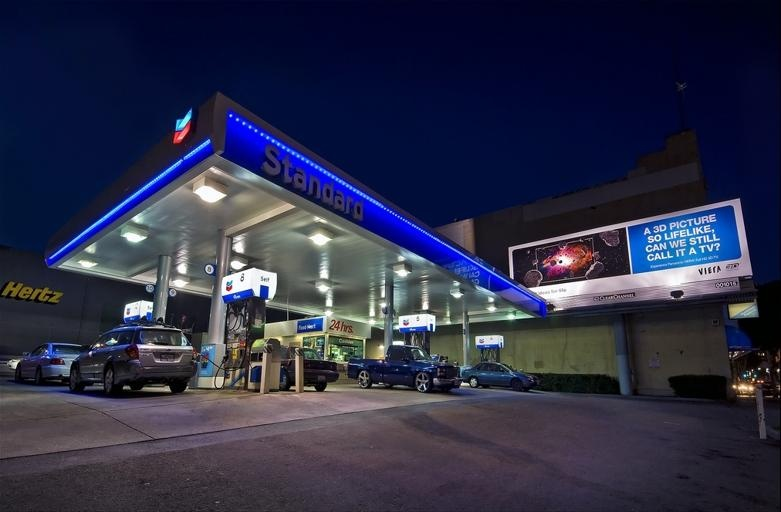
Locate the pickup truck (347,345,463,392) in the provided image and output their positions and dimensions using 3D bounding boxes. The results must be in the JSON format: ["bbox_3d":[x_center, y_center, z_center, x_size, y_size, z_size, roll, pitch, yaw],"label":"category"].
[{"bbox_3d":[0.679,4.787,19.339,4.167,1.514,1.923,-12,-23,36],"label":"pickup truck"}]

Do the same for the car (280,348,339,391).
[{"bbox_3d":[-2.907,4.059,16.947,2.361,0.892,1.327,-7,-15,40],"label":"car"}]

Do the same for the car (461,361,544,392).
[{"bbox_3d":[5.845,6.428,24.889,3.893,1.254,1.639,-13,-22,38],"label":"car"}]

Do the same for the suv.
[{"bbox_3d":[-7.887,3.017,13.733,4.133,1.989,1.621,-5,-18,22],"label":"suv"}]
